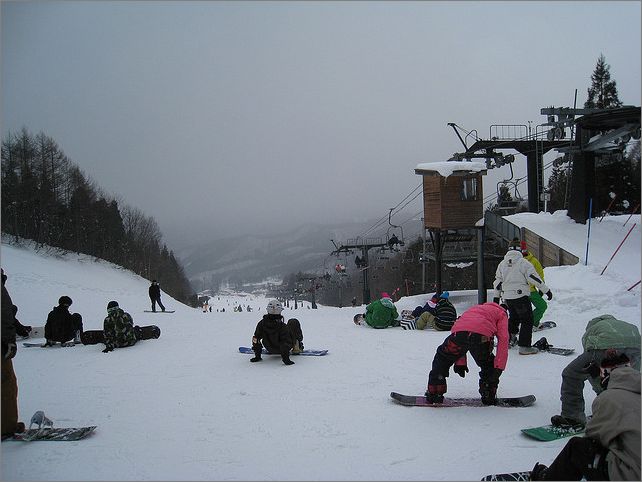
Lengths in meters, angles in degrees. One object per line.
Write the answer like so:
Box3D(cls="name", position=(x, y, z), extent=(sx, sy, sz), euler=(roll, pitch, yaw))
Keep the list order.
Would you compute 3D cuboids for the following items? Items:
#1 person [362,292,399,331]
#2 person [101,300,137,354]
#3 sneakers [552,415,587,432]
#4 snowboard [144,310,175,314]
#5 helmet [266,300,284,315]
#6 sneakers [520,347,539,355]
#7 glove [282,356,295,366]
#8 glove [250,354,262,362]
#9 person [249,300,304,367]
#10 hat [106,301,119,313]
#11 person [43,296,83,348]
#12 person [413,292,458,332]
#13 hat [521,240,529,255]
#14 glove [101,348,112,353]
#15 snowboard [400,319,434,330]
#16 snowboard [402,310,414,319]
Box3D(cls="person", position=(2.121, 2.399, 17.817), extent=(1.118, 1.245, 1.576), euler=(16, -6, -8))
Box3D(cls="person", position=(-5.542, 2.262, 14.062), extent=(0.503, 1.439, 1.218), euler=(-2, 0, 15))
Box3D(cls="sneakers", position=(3.850, 2.793, 8.047), extent=(0.480, 0.253, 0.176), euler=(-3, 0, 16))
Box3D(cls="snowboard", position=(-8.184, 3.564, 26.125), extent=(2.007, 0.124, 0.250), euler=(3, 27, -22))
Box3D(cls="helmet", position=(-1.051, 1.514, 11.710), extent=(0.267, 0.343, 0.379), euler=(4, 10, 0))
Box3D(cls="sneakers", position=(4.690, 2.463, 11.733), extent=(0.427, 0.225, 0.166), euler=(-3, -8, -5))
Box3D(cls="glove", position=(-0.732, 2.702, 11.842), extent=(0.292, 0.194, 0.318), euler=(-2, 0, -11))
Box3D(cls="glove", position=(-1.509, 2.719, 12.107), extent=(0.245, 0.276, 0.143), euler=(5, -8, -10))
Box3D(cls="person", position=(-0.924, 2.151, 12.671), extent=(0.907, 1.525, 1.845), euler=(0, -5, 17))
Box3D(cls="hat", position=(-5.649, 1.775, 14.080), extent=(0.245, 0.332, 0.859), euler=(-2, 0, -20))
Box3D(cls="person", position=(-7.388, 2.282, 14.859), extent=(0.978, 1.532, 0.670), euler=(-2, 0, -24))
Box3D(cls="person", position=(3.594, 2.238, 16.268), extent=(1.393, 1.365, 0.948), euler=(2, -15, 37))
Box3D(cls="hat", position=(5.530, 0.192, 14.058), extent=(0.219, 0.465, 0.115), euler=(5, -18, -10))
Box3D(cls="glove", position=(-5.596, 2.854, 13.588), extent=(0.273, 0.144, 0.344), euler=(-2, 0, -22))
Box3D(cls="snowboard", position=(3.080, 2.660, 16.586), extent=(0.987, 0.516, 0.353), euler=(0, 3, 5))
Box3D(cls="snowboard", position=(2.930, 2.470, 17.462), extent=(0.257, 0.149, 0.377), euler=(7, 11, 4))
